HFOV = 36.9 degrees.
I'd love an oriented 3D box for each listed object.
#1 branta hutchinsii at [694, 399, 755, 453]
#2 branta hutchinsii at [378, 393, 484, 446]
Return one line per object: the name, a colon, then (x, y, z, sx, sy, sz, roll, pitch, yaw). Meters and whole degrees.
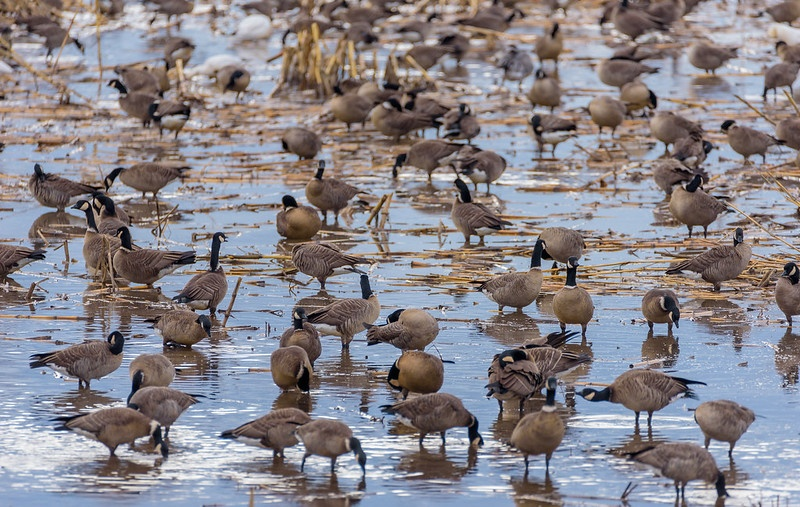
branta hutchinsii: (4.963, 2.701, 18.467, 0.868, 0.837, 0.343, 3, 3, 8)
branta hutchinsii: (0.556, 2.462, 18.881, 1.573, 0.744, 0.730, 21, 4, 15)
